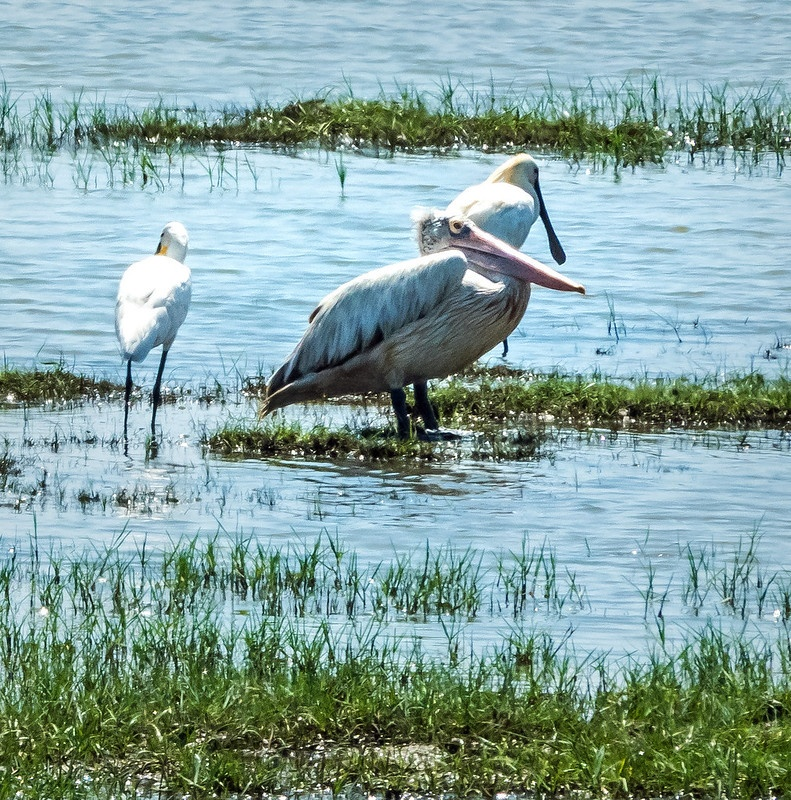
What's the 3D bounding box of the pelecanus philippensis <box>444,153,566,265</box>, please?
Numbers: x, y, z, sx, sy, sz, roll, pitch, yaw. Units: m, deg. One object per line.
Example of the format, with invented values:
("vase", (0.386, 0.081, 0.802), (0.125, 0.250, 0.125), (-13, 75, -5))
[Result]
("pelecanus philippensis", (0.879, -1.702, 15.435), (1.831, 1.066, 0.721), (-6, 10, -44))
